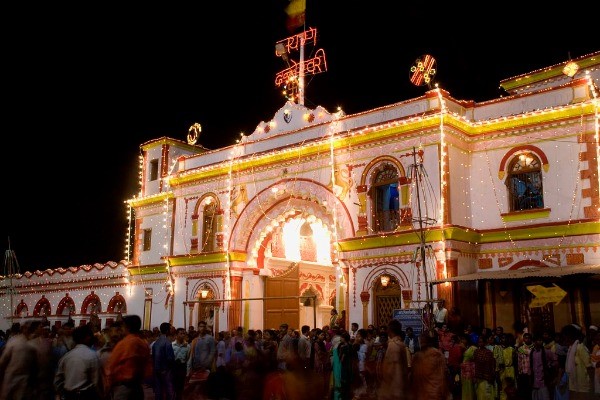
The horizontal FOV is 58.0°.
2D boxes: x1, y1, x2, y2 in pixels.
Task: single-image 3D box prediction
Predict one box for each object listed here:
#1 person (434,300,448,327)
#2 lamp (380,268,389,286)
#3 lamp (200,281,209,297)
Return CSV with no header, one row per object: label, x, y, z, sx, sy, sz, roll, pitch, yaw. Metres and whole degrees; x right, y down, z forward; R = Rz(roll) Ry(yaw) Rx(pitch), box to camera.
person,5.018,4.313,19.833,0.428,0.991,0.199,19,1,-30
lamp,3.526,3.243,22.212,0.483,0.645,0.547,-6,-31,21
lamp,-4.827,4.609,27.299,0.578,0.681,0.262,-12,-19,34
